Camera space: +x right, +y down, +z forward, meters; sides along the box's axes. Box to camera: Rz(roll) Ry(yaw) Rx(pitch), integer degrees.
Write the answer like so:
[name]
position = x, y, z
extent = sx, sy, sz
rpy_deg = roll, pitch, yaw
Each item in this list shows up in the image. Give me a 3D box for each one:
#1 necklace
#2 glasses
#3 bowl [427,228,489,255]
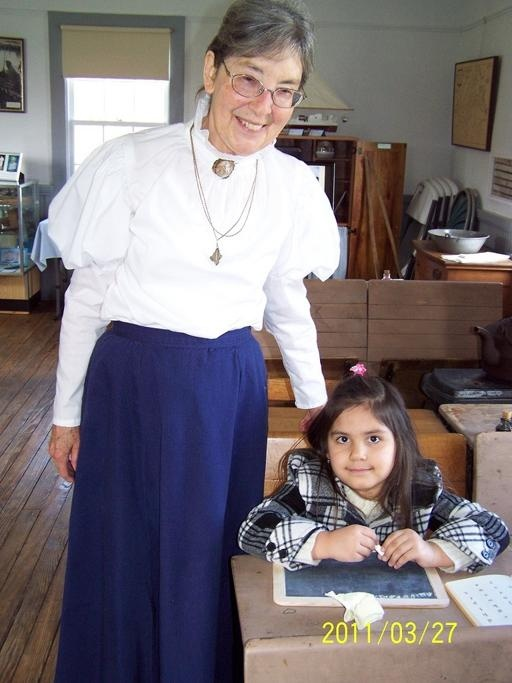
[necklace]
position = -0.057, -0.254, 1.010
extent = 0.105, 0.230, 0.014
rpy_deg = 2, -21, 10
[glasses]
position = 0.027, -0.420, 0.898
extent = 0.148, 0.081, 0.065
rpy_deg = -6, 8, -30
[bowl]
position = 1.544, -0.774, 4.256
extent = 0.344, 0.118, 0.331
rpy_deg = 1, 20, 0
